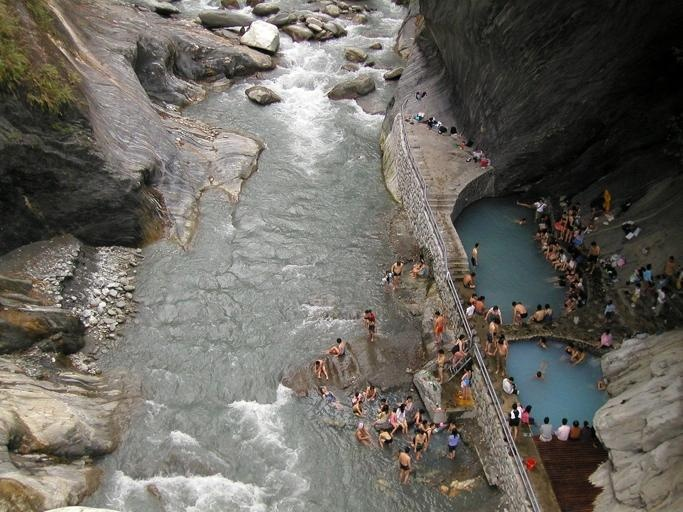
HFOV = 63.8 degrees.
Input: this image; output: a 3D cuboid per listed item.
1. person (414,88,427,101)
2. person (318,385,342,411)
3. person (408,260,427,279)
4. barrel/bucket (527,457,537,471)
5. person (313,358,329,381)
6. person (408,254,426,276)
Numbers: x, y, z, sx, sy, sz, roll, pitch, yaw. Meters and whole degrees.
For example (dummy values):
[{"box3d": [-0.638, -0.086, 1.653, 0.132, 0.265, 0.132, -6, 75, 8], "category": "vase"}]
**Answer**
[{"box3d": [4.889, -9.857, 33.616, 0.621, 0.401, 0.807, 8, 57, -9], "category": "person"}, {"box3d": [-0.453, 5.949, 22.741, 0.568, 0.490, 1.106, -41, 65, -17], "category": "person"}, {"box3d": [3.827, 0.606, 27.086, 0.884, 0.994, 0.636, 9, 54, 26], "category": "person"}, {"box3d": [6.720, 7.355, 19.361, 0.306, 0.270, 0.377, -2, 36, 3], "category": "barrel/bucket"}, {"box3d": [-0.875, 4.871, 23.403, 0.579, 0.309, 0.797, 4, 73, -5], "category": "person"}, {"box3d": [3.750, 0.497, 27.244, 0.682, 0.966, 0.408, 13, 45, 19], "category": "person"}]
